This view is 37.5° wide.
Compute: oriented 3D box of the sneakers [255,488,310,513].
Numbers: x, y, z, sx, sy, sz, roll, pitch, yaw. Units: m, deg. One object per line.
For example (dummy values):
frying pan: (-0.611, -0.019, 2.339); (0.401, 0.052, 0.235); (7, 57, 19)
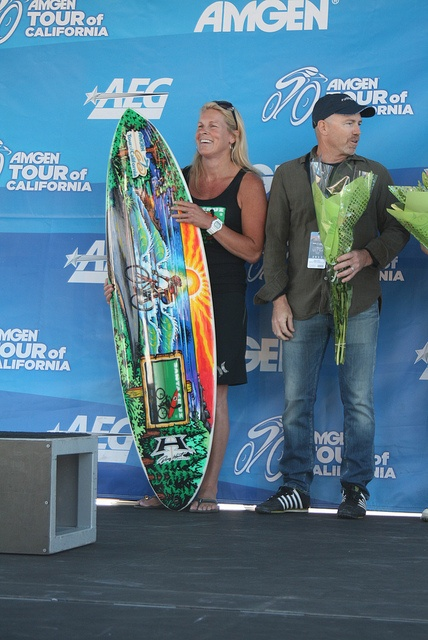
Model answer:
sneakers: (0.306, 0.778, 2.746); (0.269, 0.100, 0.093); (2, -7, -14)

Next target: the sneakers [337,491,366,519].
sneakers: (0.569, 0.757, 2.611); (0.107, 0.119, 0.107); (-3, 4, 17)

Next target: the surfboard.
surfboard: (-0.255, -0.092, 2.856); (0.359, 1.808, 0.478); (-6, 4, -28)

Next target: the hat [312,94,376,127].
hat: (0.557, -0.887, 2.689); (0.214, 0.094, 0.136); (-9, 3, 30)

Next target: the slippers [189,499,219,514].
slippers: (-0.048, 0.810, 2.730); (0.112, 0.058, 0.119); (-3, 3, 12)

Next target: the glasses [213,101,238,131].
glasses: (0.064, -0.945, 2.918); (0.040, 0.119, 0.123); (-21, 26, -37)

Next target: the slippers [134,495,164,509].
slippers: (-0.292, 0.829, 2.873); (0.098, 0.043, 0.172); (1, -9, -2)

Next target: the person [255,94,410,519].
person: (0.491, -0.063, 2.703); (0.612, 1.799, 0.462); (-2, 4, 30)
